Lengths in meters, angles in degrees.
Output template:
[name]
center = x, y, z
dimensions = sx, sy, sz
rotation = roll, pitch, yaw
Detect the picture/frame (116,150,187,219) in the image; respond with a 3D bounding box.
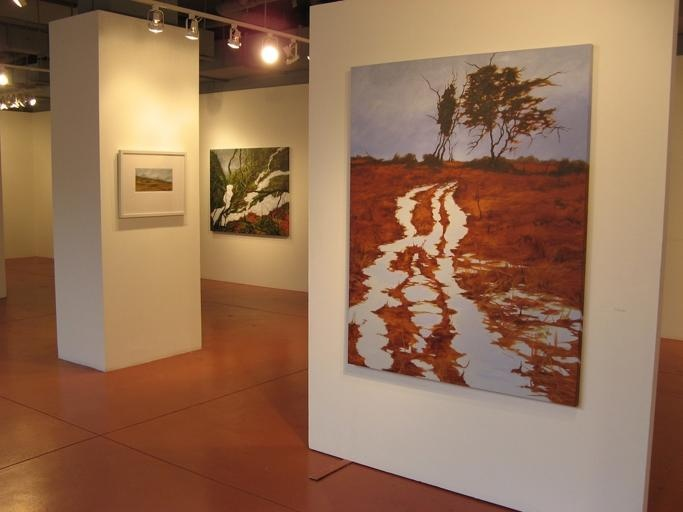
[picture/frame]
center = -2.414, -0.923, 6.314
dimensions = 0.840, 0.823, 0.082
rotation = -4, 7, -44
